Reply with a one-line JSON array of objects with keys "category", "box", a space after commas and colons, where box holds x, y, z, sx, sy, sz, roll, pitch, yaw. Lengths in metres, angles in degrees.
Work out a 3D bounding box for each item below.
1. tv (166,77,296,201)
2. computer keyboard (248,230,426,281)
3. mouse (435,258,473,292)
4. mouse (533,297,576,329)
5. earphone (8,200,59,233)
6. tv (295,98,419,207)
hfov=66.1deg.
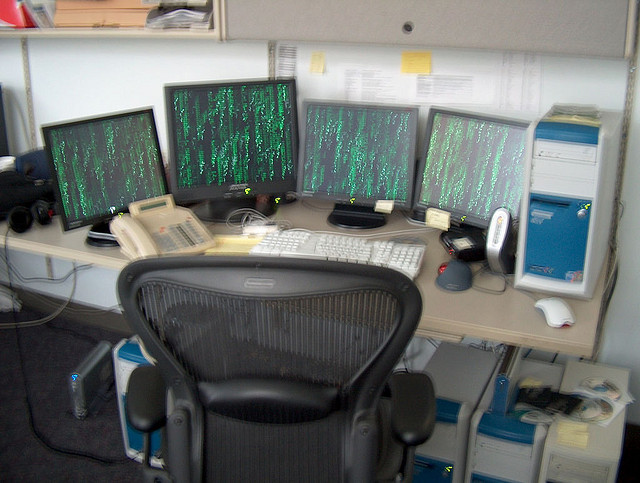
[{"category": "tv", "box": [-0.363, -0.412, 1.941, 0.484, 0.420, 0.050, -6, 16, -12]}, {"category": "computer keyboard", "box": [-0.012, 0.038, 1.779, 0.765, 0.092, 0.265, 5, 18, 25]}, {"category": "mouse", "box": [0.446, 0.100, 1.611, 0.139, 0.057, 0.183, 8, 33, 16]}, {"category": "mouse", "box": [0.705, 0.208, 1.457, 0.095, 0.039, 0.131, -7, 25, 3]}, {"category": "earphone", "box": [-1.100, -0.090, 1.876, 0.113, 0.071, 0.121, 20, 28, 30]}, {"category": "tv", "box": [0.152, -0.351, 1.937, 0.402, 0.347, 0.053, 8, 12, 12]}]
